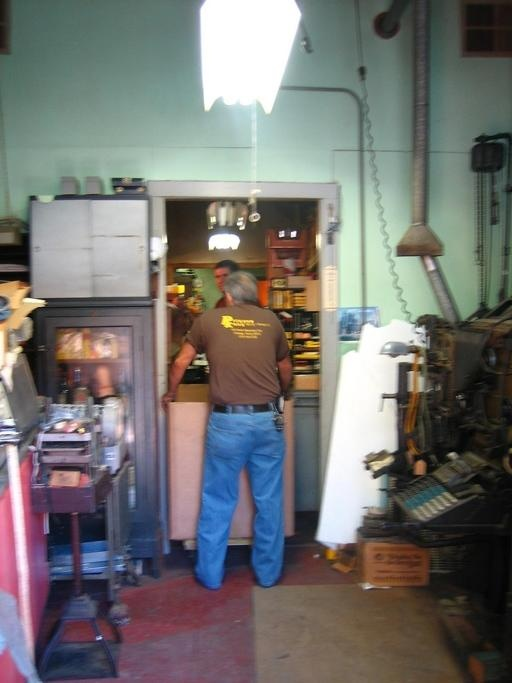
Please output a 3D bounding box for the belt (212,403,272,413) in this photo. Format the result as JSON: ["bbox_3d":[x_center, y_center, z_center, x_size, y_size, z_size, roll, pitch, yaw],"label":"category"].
[{"bbox_3d":[-0.054,0.259,2.329,0.227,0.037,0.058,-2,7,-1],"label":"belt"}]

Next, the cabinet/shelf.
[{"bbox_3d":[-0.634,0.385,2.509,0.487,1.109,0.202,0,8,12],"label":"cabinet/shelf"}]

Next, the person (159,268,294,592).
[{"bbox_3d":[-0.101,0.332,2.412,0.501,1.217,0.351,-2,7,2],"label":"person"}]
